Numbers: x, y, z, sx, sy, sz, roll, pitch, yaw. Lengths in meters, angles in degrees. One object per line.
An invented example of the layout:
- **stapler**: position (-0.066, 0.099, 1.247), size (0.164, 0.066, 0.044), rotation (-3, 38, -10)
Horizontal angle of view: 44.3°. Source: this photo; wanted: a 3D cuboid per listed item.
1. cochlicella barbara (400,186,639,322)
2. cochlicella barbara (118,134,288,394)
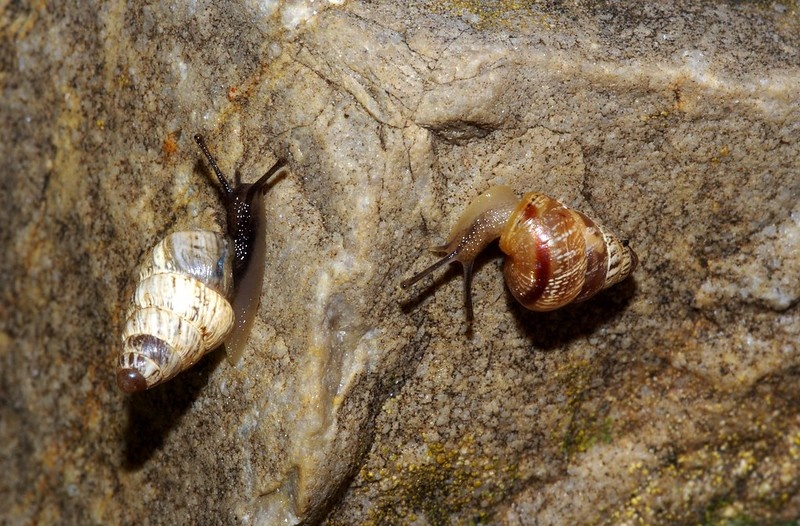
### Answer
- **cochlicella barbara**: position (0.678, 0.006, 5.155), size (1.086, 0.644, 0.470), rotation (18, 42, 0)
- **cochlicella barbara**: position (-1.068, 0.034, 5.543), size (0.995, 1.346, 1.168), rotation (-5, 2, -44)
